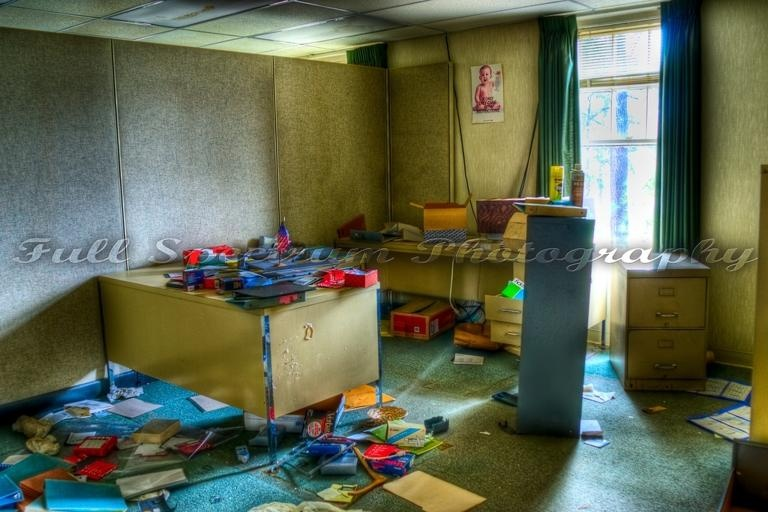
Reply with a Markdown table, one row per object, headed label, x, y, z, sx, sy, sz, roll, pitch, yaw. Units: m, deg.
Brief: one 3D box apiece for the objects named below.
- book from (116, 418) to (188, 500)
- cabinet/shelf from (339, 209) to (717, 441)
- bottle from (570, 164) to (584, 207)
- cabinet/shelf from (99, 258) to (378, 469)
| label | x | y | z | sx | sy | sz | roll | pitch | yaw |
| --- | --- | --- | --- | --- | --- | --- | --- | --- | --- |
| book | -1.652 | 1.466 | 4.177 | 0.316 | 0.111 | 0.613 | 0 | 18 | -10 |
| cabinet/shelf | 1.240 | 0.431 | 4.731 | 1.899 | 0.981 | 1.920 | 1 | 3 | 45 |
| bottle | 1.360 | -0.488 | 4.058 | 0.073 | 0.253 | 0.070 | -3 | 10 | 1 |
| cabinet/shelf | -1.174 | 0.696 | 4.274 | 1.990 | 1.051 | 0.796 | 1 | 10 | 20 |
